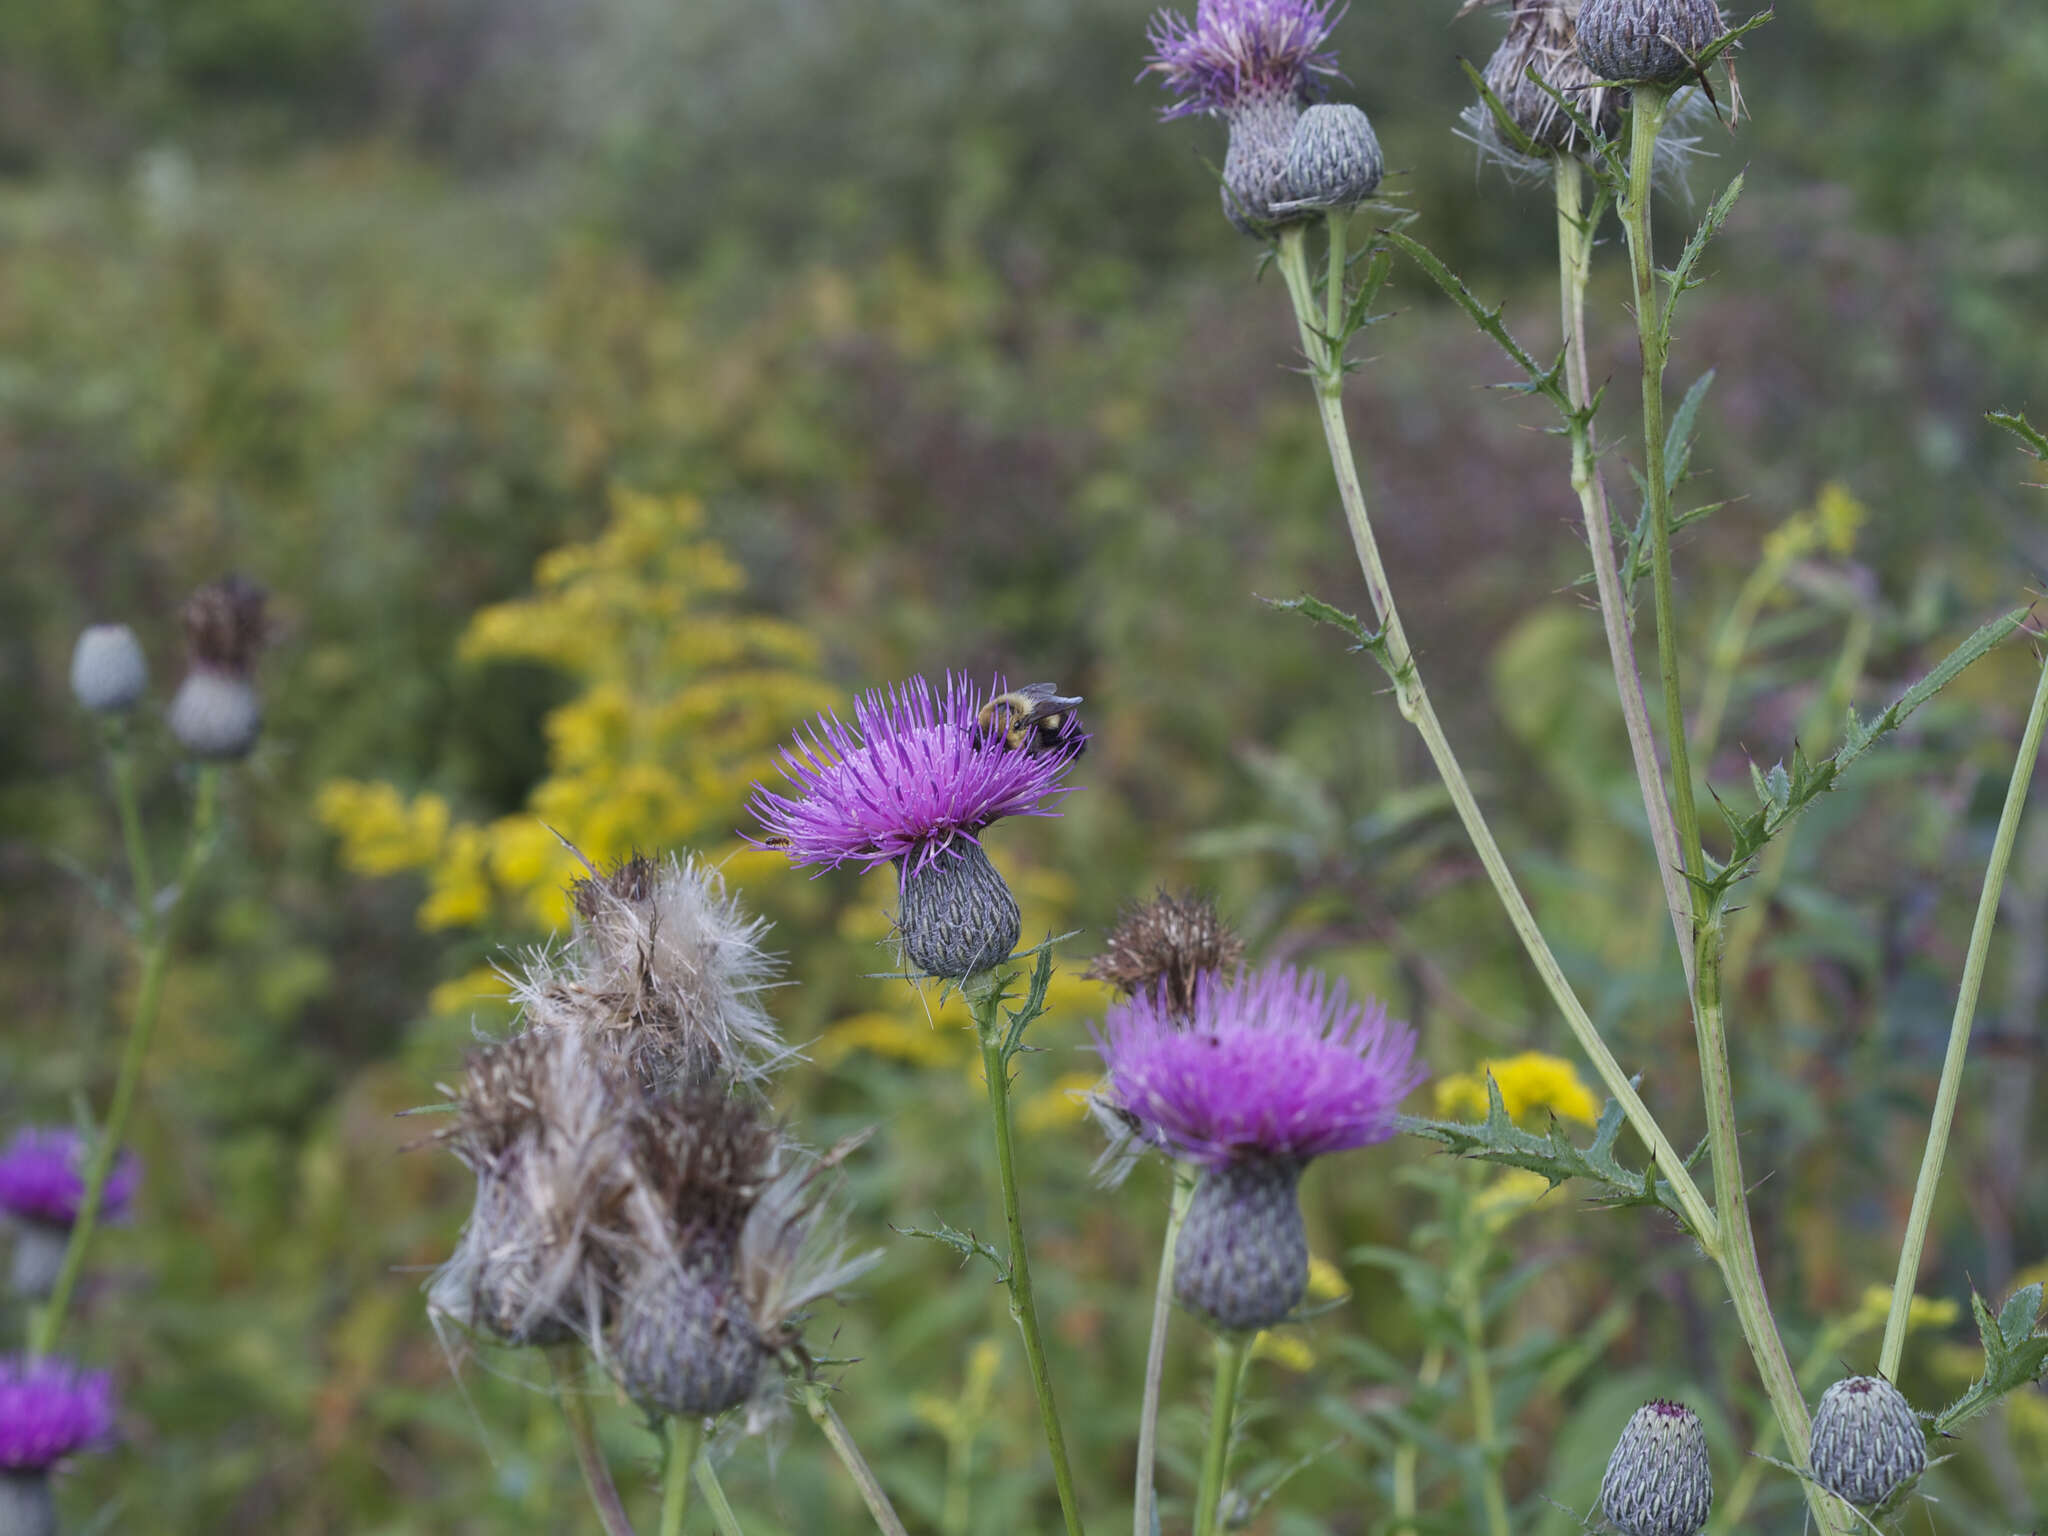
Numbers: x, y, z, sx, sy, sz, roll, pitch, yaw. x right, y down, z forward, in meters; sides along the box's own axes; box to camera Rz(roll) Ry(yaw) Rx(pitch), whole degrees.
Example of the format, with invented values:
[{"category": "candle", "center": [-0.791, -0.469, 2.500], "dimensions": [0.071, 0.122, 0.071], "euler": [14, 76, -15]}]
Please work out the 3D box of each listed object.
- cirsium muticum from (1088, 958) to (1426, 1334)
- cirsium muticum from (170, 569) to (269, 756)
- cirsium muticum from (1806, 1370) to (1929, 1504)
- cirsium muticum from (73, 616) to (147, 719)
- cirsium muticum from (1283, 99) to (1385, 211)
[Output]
[{"category": "cirsium muticum", "center": [0.419, 0.768, 6.640], "dimensions": [0.528, 0.558, 0.790], "euler": [-1, 86, 44]}, {"category": "cirsium muticum", "center": [-1.649, -0.203, 6.890], "dimensions": [0.176, 0.157, 0.374], "euler": [5, 72, 12]}, {"category": "cirsium muticum", "center": [1.623, 1.302, 6.464], "dimensions": [0.162, 0.253, 0.235], "euler": [-2, 32, 5]}, {"category": "cirsium muticum", "center": [-1.899, -0.206, 6.874], "dimensions": [0.128, 0.154, 0.222], "euler": [2, 88, 14]}, {"category": "cirsium muticum", "center": [0.619, -1.216, 6.667], "dimensions": [0.146, 0.205, 0.249], "euler": [-2, 98, -2]}]
